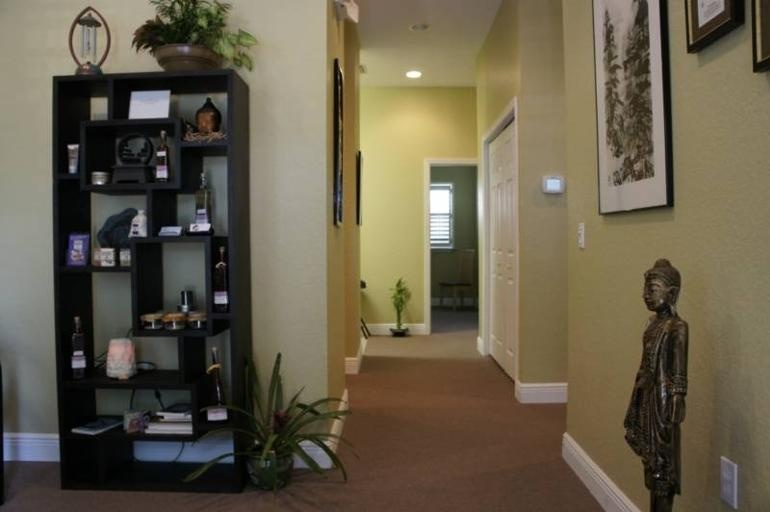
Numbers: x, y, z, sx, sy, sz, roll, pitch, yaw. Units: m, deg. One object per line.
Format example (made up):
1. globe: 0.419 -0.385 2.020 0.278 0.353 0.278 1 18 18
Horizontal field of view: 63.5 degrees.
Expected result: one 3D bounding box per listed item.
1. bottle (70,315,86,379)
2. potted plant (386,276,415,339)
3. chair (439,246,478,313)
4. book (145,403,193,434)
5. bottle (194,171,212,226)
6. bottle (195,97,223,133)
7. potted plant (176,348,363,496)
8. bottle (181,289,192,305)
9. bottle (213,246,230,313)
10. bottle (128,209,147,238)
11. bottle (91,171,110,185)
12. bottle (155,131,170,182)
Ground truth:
1. bottle: -1.989 0.579 4.010 0.099 0.356 0.200 -7 16 -27
2. potted plant: 0.193 0.644 7.751 0.257 0.683 0.312 1 14 1
3. chair: 1.215 0.362 10.467 0.623 1.019 1.052 2 15 6
4. book: -1.363 1.055 3.993 0.195 0.072 0.201 3 2 -2
5. bottle: -1.188 -0.386 4.038 0.105 0.294 0.307 -4 15 -15
6. bottle: -1.163 -0.913 4.016 0.190 0.217 0.143 1 15 5
7. potted plant: -0.747 1.102 4.139 0.866 0.626 0.886 1 1 29
8. bottle: -1.276 0.271 3.996 0.080 0.097 0.082 -2 -3 29
9. bottle: -1.047 0.145 3.947 0.100 0.393 0.127 -4 15 -15
10. bottle: -1.583 -0.201 3.973 0.110 0.156 0.265 -6 17 -23
11. bottle: -1.818 -0.499 3.957 0.096 0.075 0.097 0 -3 0
12. bottle: -1.451 -0.663 4.029 0.095 0.309 0.291 -5 16 -19
